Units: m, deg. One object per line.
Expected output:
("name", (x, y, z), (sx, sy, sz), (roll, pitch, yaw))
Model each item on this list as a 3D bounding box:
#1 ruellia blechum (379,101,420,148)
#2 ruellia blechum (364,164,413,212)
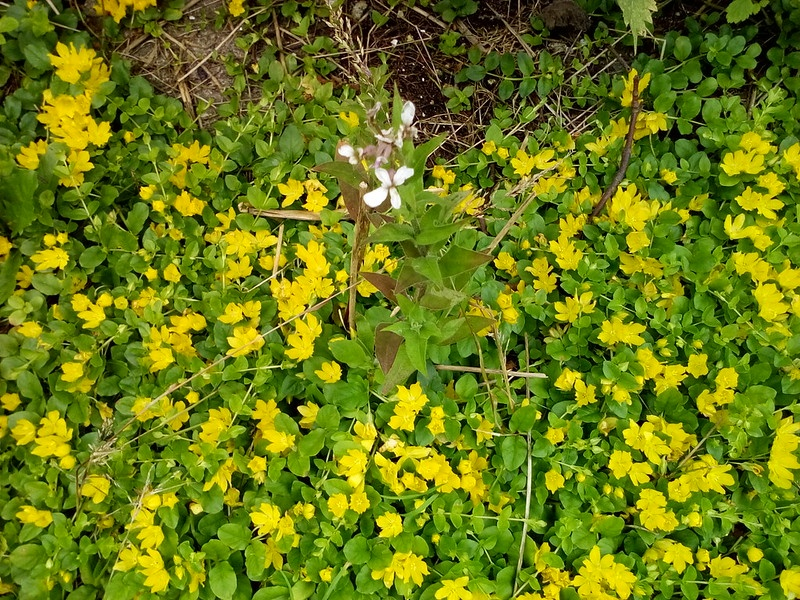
("ruellia blechum", (-0.003, -0.521, 2.267), (0.068, 0.139, 0.126), (-26, 75, -35))
("ruellia blechum", (-0.028, -0.361, 2.261), (0.106, 0.157, 0.053), (39, 54, -34))
